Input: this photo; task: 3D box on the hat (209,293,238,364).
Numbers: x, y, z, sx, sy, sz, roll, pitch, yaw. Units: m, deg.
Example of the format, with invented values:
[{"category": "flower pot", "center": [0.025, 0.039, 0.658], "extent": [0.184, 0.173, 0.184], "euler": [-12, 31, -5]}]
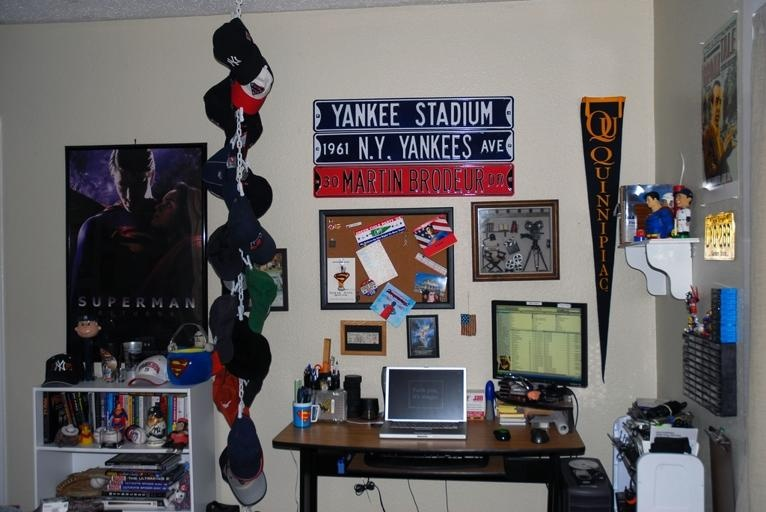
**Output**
[{"category": "hat", "center": [-1.059, 0.480, 5.365], "extent": [0.191, 0.434, 0.161], "euler": [0, -9, 18]}]

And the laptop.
[{"category": "laptop", "center": [0.269, 0.949, 5.197], "extent": [0.554, 0.398, 0.398], "euler": [-1, 0, 9]}]

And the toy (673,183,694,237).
[{"category": "toy", "center": [1.878, -0.278, 5.022], "extent": [0.114, 0.327, 0.082], "euler": [-3, -3, 34]}]

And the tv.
[{"category": "tv", "center": [1.058, 0.664, 5.402], "extent": [0.658, 0.637, 0.073], "euler": [1, 0, 16]}]

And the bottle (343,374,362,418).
[{"category": "bottle", "center": [-0.203, 0.964, 5.494], "extent": [0.149, 0.286, 0.112], "euler": [0, -3, -26]}]

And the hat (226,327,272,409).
[{"category": "hat", "center": [-0.915, 0.731, 5.424], "extent": [0.333, 0.496, 0.133], "euler": [12, 14, 23]}]

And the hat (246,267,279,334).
[{"category": "hat", "center": [-0.828, 0.296, 5.272], "extent": [0.215, 0.406, 0.102], "euler": [22, 13, 31]}]

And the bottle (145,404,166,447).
[{"category": "bottle", "center": [-1.552, 1.159, 5.435], "extent": [0.140, 0.271, 0.147], "euler": [0, 0, 0]}]

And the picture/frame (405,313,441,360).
[{"category": "picture/frame", "center": [0.284, 0.565, 5.587], "extent": [0.285, 0.384, 0.036], "euler": [0, -2, -1]}]

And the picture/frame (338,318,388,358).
[{"category": "picture/frame", "center": [-0.140, 0.576, 5.616], "extent": [0.318, 0.232, 0.030], "euler": [-2, -3, 7]}]

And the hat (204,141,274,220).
[{"category": "hat", "center": [-0.992, -0.500, 5.459], "extent": [0.263, 0.577, 0.356], "euler": [-15, 0, 41]}]

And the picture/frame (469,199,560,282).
[{"category": "picture/frame", "center": [0.940, -0.099, 5.553], "extent": [0.507, 0.523, 0.043], "euler": [0, -2, 1]}]

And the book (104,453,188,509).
[{"category": "book", "center": [-1.606, 1.516, 5.251], "extent": [0.396, 0.218, 0.420], "euler": [2, -4, 0]}]

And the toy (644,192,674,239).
[{"category": "toy", "center": [1.762, -0.252, 5.088], "extent": [0.143, 0.478, 0.206], "euler": [3, -10, 4]}]

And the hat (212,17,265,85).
[{"category": "hat", "center": [-0.940, -1.321, 5.165], "extent": [0.285, 0.395, 0.191], "euler": [-2, -3, 19]}]

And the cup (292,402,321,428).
[{"category": "cup", "center": [-0.522, 1.076, 5.416], "extent": [0.177, 0.169, 0.122], "euler": [2, -5, -14]}]

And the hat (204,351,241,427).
[{"category": "hat", "center": [-1.081, 0.947, 5.578], "extent": [0.198, 0.592, 0.074], "euler": [3, 41, -12]}]

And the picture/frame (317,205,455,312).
[{"category": "picture/frame", "center": [0.059, 0.035, 5.609], "extent": [0.662, 0.544, 0.028], "euler": [-1, -2, 2]}]

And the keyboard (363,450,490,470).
[{"category": "keyboard", "center": [0.271, 1.299, 5.062], "extent": [0.778, 0.101, 0.114], "euler": [-1, -3, 0]}]

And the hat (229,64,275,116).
[{"category": "hat", "center": [-0.894, -1.111, 5.326], "extent": [0.171, 0.277, 0.274], "euler": [31, 12, -30]}]
